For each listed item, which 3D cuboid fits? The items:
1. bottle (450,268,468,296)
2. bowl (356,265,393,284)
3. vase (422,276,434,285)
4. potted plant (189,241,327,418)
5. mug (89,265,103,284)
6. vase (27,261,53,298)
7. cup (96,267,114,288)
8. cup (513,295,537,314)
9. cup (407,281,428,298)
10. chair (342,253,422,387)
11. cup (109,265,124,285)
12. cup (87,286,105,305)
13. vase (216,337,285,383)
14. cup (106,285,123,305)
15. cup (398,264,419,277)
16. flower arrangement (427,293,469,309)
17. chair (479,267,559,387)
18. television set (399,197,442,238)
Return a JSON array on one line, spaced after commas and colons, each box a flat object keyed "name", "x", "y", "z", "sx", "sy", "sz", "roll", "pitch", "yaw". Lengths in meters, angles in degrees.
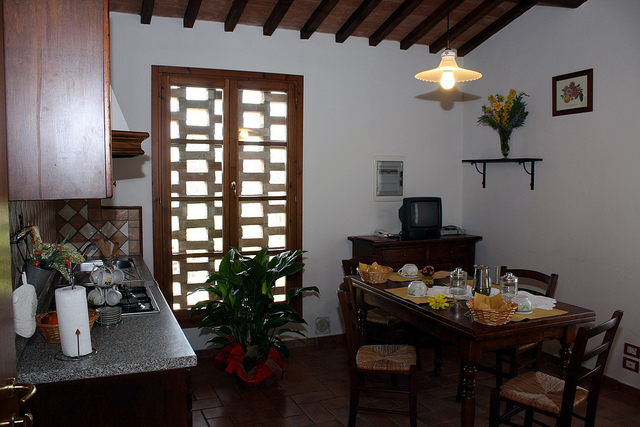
[{"name": "bottle", "x": 1.061, "y": 0.533, "z": 3.375, "sx": 0.162, "sy": 0.222, "sz": 0.161, "roll": 2, "pitch": -4, "yaw": 0}, {"name": "bowl", "x": 0.516, "y": 0.520, "z": 3.758, "sx": 0.188, "sy": 0.078, "sz": 0.184, "roll": -3, "pitch": -1, "yaw": 0}, {"name": "vase", "x": 0.919, "y": 0.571, "z": 3.684, "sx": 0.067, "sy": 0.067, "sz": 0.069, "roll": -1, "pitch": 4, "yaw": -5}, {"name": "potted plant", "x": -0.603, "y": 0.977, "z": 4.326, "sx": 1.382, "sy": 1.601, "sz": 1.271, "roll": 5, "pitch": 4, "yaw": 38}, {"name": "mug", "x": -1.357, "y": 0.372, "z": 2.679, "sx": 0.068, "sy": 0.097, "sz": 0.093, "roll": 19, "pitch": 18, "yaw": 15}, {"name": "vase", "x": -1.523, "y": 0.356, "z": 2.352, "sx": 0.119, "sy": 0.173, "sz": 0.121, "roll": -13, "pitch": -24, "yaw": 2}, {"name": "cup", "x": -1.290, "y": 0.393, "z": 2.626, "sx": 0.096, "sy": 0.121, "sz": 0.156, "roll": 4, "pitch": -27, "yaw": -31}, {"name": "cup", "x": 1.419, "y": 0.636, "z": 3.004, "sx": 0.131, "sy": 0.072, "sz": 0.104, "roll": -1, "pitch": 0, "yaw": 6}, {"name": "cup", "x": 0.759, "y": 0.577, "z": 3.333, "sx": 0.118, "sy": 0.072, "sz": 0.119, "roll": -1, "pitch": 3, "yaw": 0}, {"name": "chair", "x": 0.657, "y": 1.045, "z": 4.165, "sx": 0.634, "sy": 1.221, "sz": 0.699, "roll": -1, "pitch": 9, "yaw": -15}, {"name": "cup", "x": -1.282, "y": 0.383, "z": 2.698, "sx": 0.068, "sy": 0.101, "sz": 0.088, "roll": -16, "pitch": 5, "yaw": -43}, {"name": "cup", "x": -1.313, "y": 0.484, "z": 2.543, "sx": 0.072, "sy": 0.104, "sz": 0.081, "roll": 7, "pitch": -17, "yaw": -28}, {"name": "vase", "x": -0.627, "y": 1.325, "z": 3.924, "sx": 0.608, "sy": 0.369, "sz": 0.274, "roll": -1, "pitch": 8, "yaw": -8}, {"name": "cup", "x": -1.220, "y": 0.488, "z": 2.552, "sx": 0.062, "sy": 0.084, "sz": 0.042, "roll": -3, "pitch": -17, "yaw": 0}, {"name": "cup", "x": 0.789, "y": 0.517, "z": 3.902, "sx": 0.130, "sy": 0.080, "sz": 0.100, "roll": -8, "pitch": -2, "yaw": 16}, {"name": "flower arrangement", "x": 0.889, "y": 0.638, "z": 3.081, "sx": 0.184, "sy": 0.087, "sz": 0.078, "roll": 19, "pitch": -20, "yaw": -11}, {"name": "chair", "x": 1.589, "y": 0.986, "z": 3.728, "sx": 0.626, "sy": 0.952, "sz": 0.606, "roll": -8, "pitch": 12, "yaw": -42}, {"name": "television set", "x": 1.157, "y": 0.037, "z": 4.892, "sx": 0.495, "sy": 0.449, "sz": 0.174, "roll": -2, "pitch": 8, "yaw": -13}]
